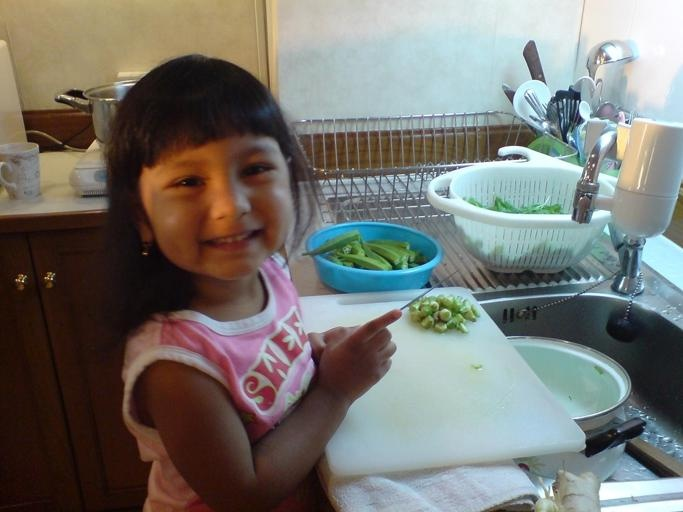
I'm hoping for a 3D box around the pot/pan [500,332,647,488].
[{"bbox_3d":[0.376,0.306,0.975,0.287,0.209,0.264,0,22,4],"label":"pot/pan"}]

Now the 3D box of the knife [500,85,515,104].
[{"bbox_3d":[0.566,-0.550,1.734,0.033,0.023,0.150,-2,48,8],"label":"knife"}]

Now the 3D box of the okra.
[{"bbox_3d":[0.055,-0.014,1.222,0.135,0.041,0.113,15,25,39],"label":"okra"}]

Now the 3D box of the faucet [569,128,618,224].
[{"bbox_3d":[0.503,-0.154,1.008,0.051,0.189,0.161,12,29,31],"label":"faucet"}]

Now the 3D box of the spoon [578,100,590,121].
[{"bbox_3d":[0.682,-0.405,1.427,0.035,0.053,0.058,8,27,25],"label":"spoon"}]
